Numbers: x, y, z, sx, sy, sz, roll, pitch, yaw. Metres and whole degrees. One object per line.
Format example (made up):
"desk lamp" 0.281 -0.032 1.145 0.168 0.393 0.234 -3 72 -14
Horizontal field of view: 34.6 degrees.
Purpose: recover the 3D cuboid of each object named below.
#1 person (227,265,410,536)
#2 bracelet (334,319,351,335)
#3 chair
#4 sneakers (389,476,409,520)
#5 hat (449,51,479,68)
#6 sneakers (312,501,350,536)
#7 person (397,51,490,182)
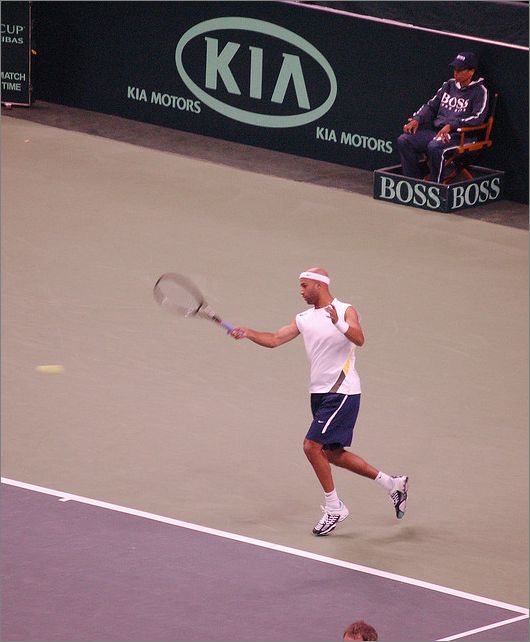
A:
"person" 0.401 0.529 5.576 1.229 1.765 0.734 4 3 -2
"bracelet" 0.476 0.034 5.290 0.080 0.084 0.079 -26 0 -29
"chair" 2.588 -2.629 11.962 0.938 1.180 1.003 -28 43 -32
"sneakers" 0.906 1.179 5.739 0.179 0.293 0.112 0 19 3
"hat" 2.687 -3.539 11.425 0.378 0.169 0.203 -2 37 -15
"sneakers" 0.438 1.315 5.626 0.146 0.273 0.089 42 11 -28
"person" 2.476 -2.807 11.728 1.117 1.778 0.503 7 4 35
